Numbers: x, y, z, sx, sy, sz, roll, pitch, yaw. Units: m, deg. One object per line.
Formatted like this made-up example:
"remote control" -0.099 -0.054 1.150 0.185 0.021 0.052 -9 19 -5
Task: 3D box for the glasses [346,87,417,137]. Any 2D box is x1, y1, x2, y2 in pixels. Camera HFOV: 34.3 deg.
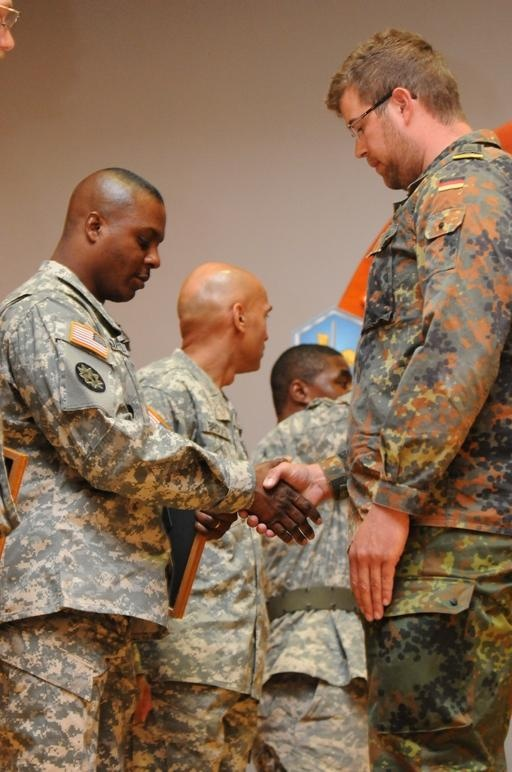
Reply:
"glasses" 0.253 -0.545 1.679 0.101 0.025 0.093 -31 -2 12
